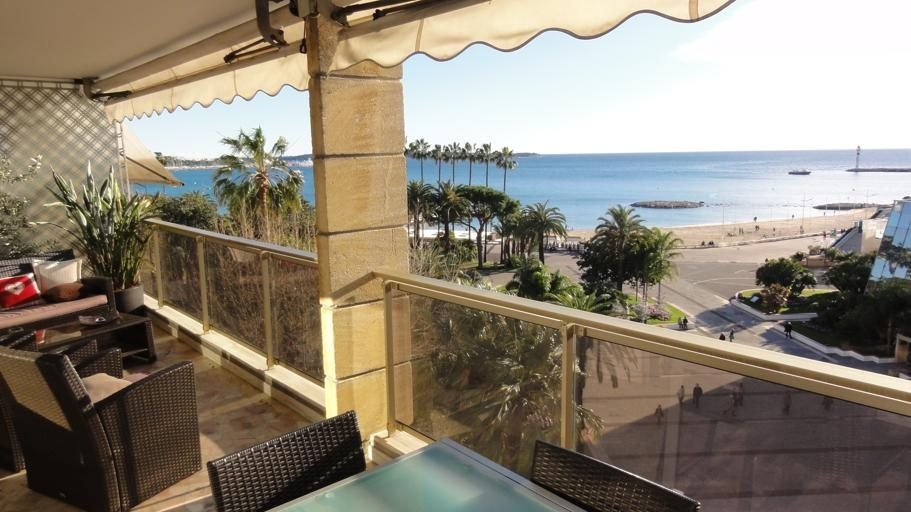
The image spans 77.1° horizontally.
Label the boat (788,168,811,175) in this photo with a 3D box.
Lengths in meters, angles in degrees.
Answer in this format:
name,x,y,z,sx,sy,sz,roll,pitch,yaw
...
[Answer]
name,x,y,z,sx,sy,sz,roll,pitch,yaw
boat,80.476,-19.501,133.051,5.214,1.507,2.238,-1,11,0
